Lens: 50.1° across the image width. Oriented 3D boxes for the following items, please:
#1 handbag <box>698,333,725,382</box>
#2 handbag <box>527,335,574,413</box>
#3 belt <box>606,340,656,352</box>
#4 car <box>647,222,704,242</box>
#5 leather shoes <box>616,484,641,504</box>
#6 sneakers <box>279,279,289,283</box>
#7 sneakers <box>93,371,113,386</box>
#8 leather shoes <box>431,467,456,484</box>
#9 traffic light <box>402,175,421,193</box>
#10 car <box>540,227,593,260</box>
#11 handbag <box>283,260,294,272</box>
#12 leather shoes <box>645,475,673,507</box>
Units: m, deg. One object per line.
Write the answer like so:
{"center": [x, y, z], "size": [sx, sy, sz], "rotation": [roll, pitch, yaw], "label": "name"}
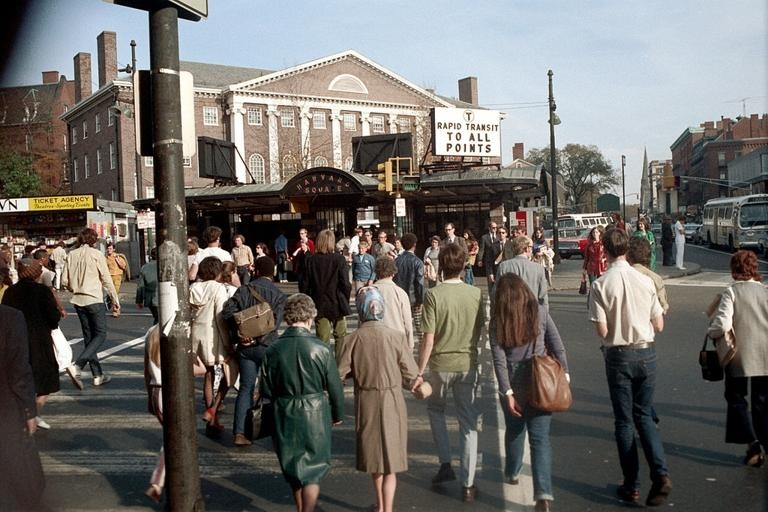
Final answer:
{"center": [3.788, 1.200, 9.509], "size": [0.251, 0.532, 0.381], "rotation": [1, 3, 22], "label": "handbag"}
{"center": [1.683, 1.310, 8.441], "size": [0.416, 0.541, 0.210], "rotation": [1, 2, 8], "label": "handbag"}
{"center": [2.589, 0.962, 8.732], "size": [0.476, 0.120, 0.130], "rotation": [1, 3, 15], "label": "belt"}
{"center": [15.742, -1.257, 43.941], "size": [1.572, 1.431, 2.936], "rotation": [0, -4, -5], "label": "car"}
{"center": [2.529, 2.470, 8.547], "size": [0.234, 0.144, 0.214], "rotation": [1, 3, 17], "label": "leather shoes"}
{"center": [-3.642, 0.935, 29.838], "size": [0.103, 0.125, 0.288], "rotation": [4, 9, 28], "label": "sneakers"}
{"center": [-4.544, 1.991, 13.226], "size": [0.122, 0.137, 0.314], "rotation": [3, 6, 17], "label": "sneakers"}
{"center": [0.645, 2.406, 8.953], "size": [0.122, 0.148, 0.333], "rotation": [2, -5, -17], "label": "leather shoes"}
{"center": [0.802, -2.192, 25.157], "size": [0.468, 0.311, 0.495], "rotation": [-2, 5, -6], "label": "traffic light"}
{"center": [9.624, -0.715, 42.712], "size": [2.030, 1.672, 3.625], "rotation": [-2, 0, 34], "label": "car"}
{"center": [-3.367, 0.372, 29.236], "size": [0.297, 0.556, 0.553], "rotation": [-2, -3, 26], "label": "handbag"}
{"center": [2.784, 2.410, 8.348], "size": [0.149, 0.420, 0.179], "rotation": [20, 33, 8], "label": "leather shoes"}
